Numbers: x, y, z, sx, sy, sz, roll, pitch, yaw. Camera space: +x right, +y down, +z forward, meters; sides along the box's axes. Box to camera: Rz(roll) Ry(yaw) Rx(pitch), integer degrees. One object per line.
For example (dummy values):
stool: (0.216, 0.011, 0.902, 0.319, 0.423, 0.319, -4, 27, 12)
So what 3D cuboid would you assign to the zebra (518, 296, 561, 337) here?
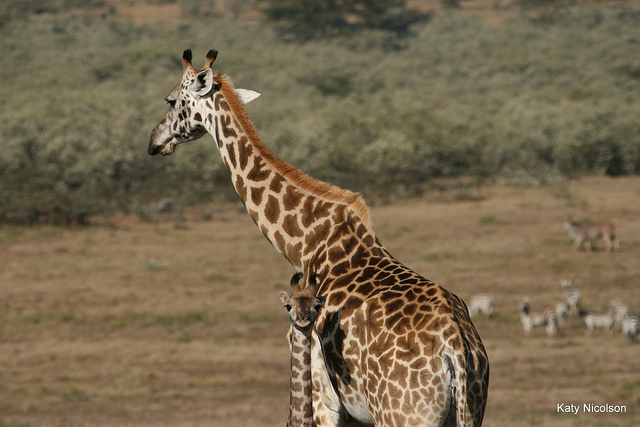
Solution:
zebra: (7.965, 3.813, 56.350, 1.766, 1.591, 0.563, -6, -10, 31)
